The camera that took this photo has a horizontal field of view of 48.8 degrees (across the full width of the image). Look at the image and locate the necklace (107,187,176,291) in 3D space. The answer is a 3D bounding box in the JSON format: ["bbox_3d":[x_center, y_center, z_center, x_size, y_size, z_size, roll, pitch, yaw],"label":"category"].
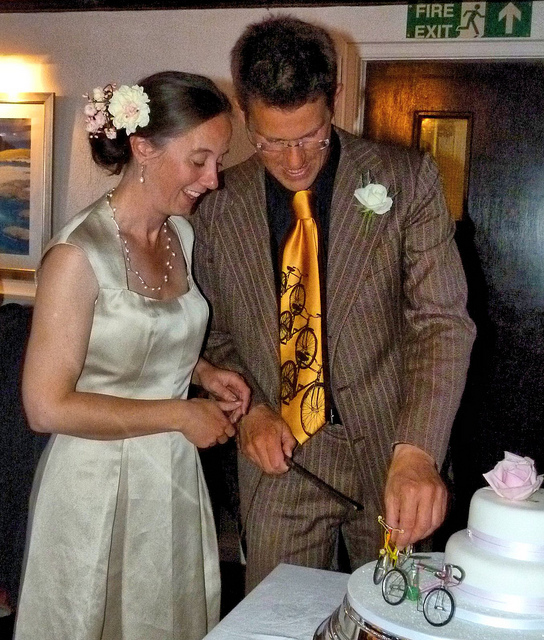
[{"bbox_3d":[-0.355,-0.200,1.527,0.033,0.282,0.192,-22,-8,41],"label":"necklace"}]

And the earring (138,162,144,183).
[{"bbox_3d":[-0.322,-0.359,1.477,0.021,0.041,0.005,5,14,35],"label":"earring"}]

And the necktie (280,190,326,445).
[{"bbox_3d":[0.069,-0.009,1.459,0.104,0.606,0.138,-2,11,1],"label":"necktie"}]
